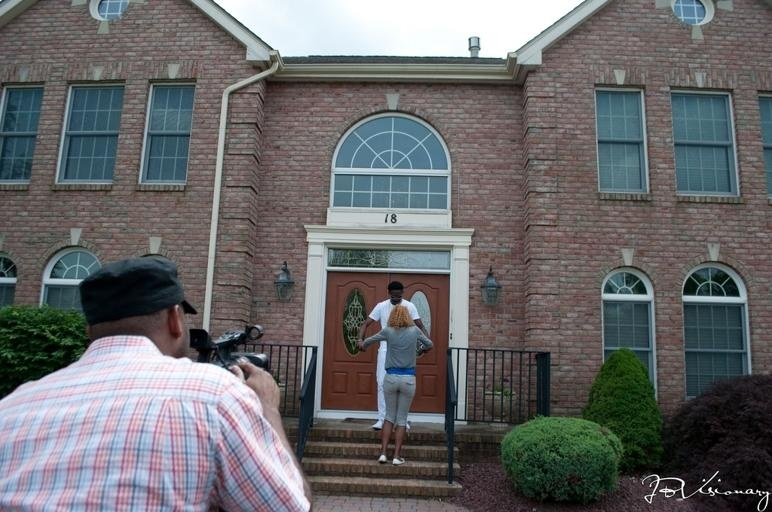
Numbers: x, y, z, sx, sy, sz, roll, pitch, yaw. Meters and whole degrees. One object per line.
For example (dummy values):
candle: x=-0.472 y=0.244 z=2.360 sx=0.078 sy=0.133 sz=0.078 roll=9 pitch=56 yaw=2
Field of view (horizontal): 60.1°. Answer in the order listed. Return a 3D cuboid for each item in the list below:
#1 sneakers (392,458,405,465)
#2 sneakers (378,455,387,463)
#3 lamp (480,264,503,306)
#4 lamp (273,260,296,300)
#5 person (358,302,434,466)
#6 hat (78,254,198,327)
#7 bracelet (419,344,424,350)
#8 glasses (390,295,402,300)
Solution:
sneakers: x=0.198 y=3.071 z=9.938 sx=0.215 sy=0.101 sz=0.150 roll=4 pitch=-9 yaw=-20
sneakers: x=-0.049 y=3.037 z=9.902 sx=0.119 sy=0.118 sz=0.150 roll=2 pitch=-29 yaw=-1
lamp: x=1.923 y=0.553 z=12.179 sx=0.371 sy=0.731 sz=0.228 roll=0 pitch=-9 yaw=7
lamp: x=-1.902 y=0.480 z=12.365 sx=0.463 sy=0.677 sz=0.449 roll=4 pitch=-9 yaw=-35
person: x=0.179 y=1.933 z=10.035 sx=0.908 sy=2.381 sz=0.543 roll=2 pitch=-9 yaw=-3
hat: x=-1.709 y=0.246 z=4.621 sx=0.475 sy=0.322 sz=0.622 roll=-12 pitch=-8 yaw=29
bracelet: x=0.536 y=1.389 z=10.101 sx=0.080 sy=0.075 sz=0.018 roll=4 pitch=-9 yaw=33
glasses: x=0.151 y=0.679 z=10.446 sx=0.147 sy=0.084 sz=0.246 roll=2 pitch=-8 yaw=-6
